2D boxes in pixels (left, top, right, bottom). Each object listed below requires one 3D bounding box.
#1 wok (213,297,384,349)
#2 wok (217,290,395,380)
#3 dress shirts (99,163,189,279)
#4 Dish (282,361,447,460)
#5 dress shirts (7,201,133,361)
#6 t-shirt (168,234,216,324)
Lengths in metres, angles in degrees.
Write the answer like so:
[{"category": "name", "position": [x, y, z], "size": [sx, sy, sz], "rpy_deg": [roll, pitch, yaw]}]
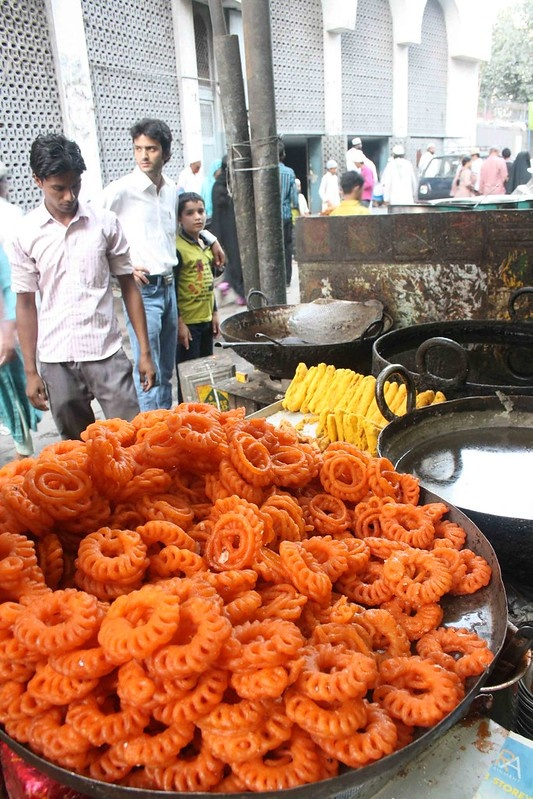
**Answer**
[{"category": "wok", "position": [0.389, -0.464, 3.673], "size": [0.573, 0.143, 0.536], "rpy_deg": [-20, 17, -40]}, {"category": "wok", "position": [0.239, -0.329, 3.353], "size": [0.763, 0.298, 0.637], "rpy_deg": [-20, 28, -30]}, {"category": "dress shirts", "position": [-0.854, -1.243, 4.279], "size": [0.364, 0.721, 0.773], "rpy_deg": [22, 28, 33]}, {"category": "Dish", "position": [0.299, 0.017, 2.639], "size": [0.333, 0.154, 0.511], "rpy_deg": [-12, 19, -35]}, {"category": "dress shirts", "position": [-0.992, -0.598, 3.195], "size": [0.589, 0.800, 0.283], "rpy_deg": [-10, 22, -14]}, {"category": "t-shirt", "position": [-0.585, -0.930, 4.698], "size": [0.268, 0.704, 0.511], "rpy_deg": [15, 30, 25]}]
